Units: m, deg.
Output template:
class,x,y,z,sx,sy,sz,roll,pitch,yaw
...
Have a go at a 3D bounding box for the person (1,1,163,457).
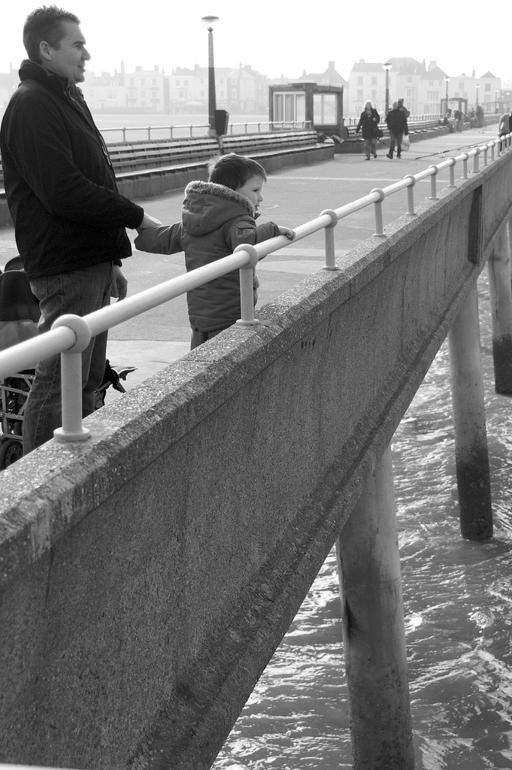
class,x,y,z,sx,sy,sz,roll,pitch,yaw
person,-0.586,-0.476,2.954,0.464,1.400,0.768,-2,10,-7
